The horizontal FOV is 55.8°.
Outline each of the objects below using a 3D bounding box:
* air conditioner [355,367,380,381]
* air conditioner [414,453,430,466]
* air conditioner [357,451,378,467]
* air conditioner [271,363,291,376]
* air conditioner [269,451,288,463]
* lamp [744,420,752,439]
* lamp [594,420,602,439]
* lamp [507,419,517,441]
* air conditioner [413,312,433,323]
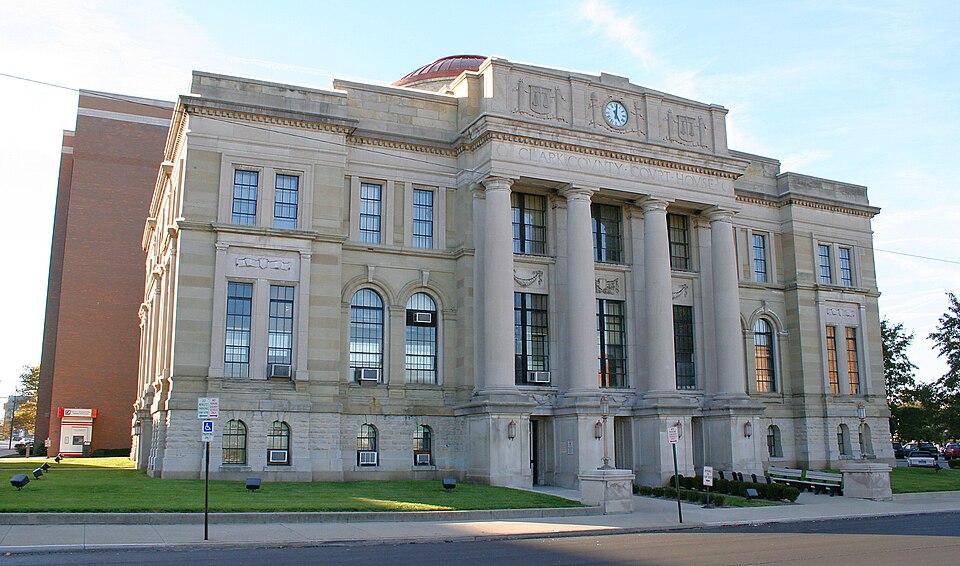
[{"bbox_3d":[-7.207,6.010,58.493,1.891,0.990,0.872,5,-16,-21],"label":"air conditioner"},{"bbox_3d":[-3.691,11.499,59.113,1.473,0.951,0.728,2,-11,-13],"label":"air conditioner"},{"bbox_3d":[-7.242,11.331,58.062,2.006,1.141,0.968,3,-10,-18],"label":"air conditioner"},{"bbox_3d":[-12.369,5.505,56.252,1.531,0.866,0.766,5,-10,-31],"label":"air conditioner"},{"bbox_3d":[-12.253,10.721,55.441,1.595,0.842,0.756,2,-13,-14],"label":"air conditioner"},{"bbox_3d":[18.435,10.189,62.496,0.646,1.152,0.170,1,-16,-10],"label":"lamp"},{"bbox_3d":[7.584,9.500,58.278,0.495,1.195,0.285,-3,-15,6],"label":"lamp"},{"bbox_3d":[2.034,9.278,56.933,0.630,1.171,0.332,4,-16,-19],"label":"lamp"},{"bbox_3d":[-3.720,2.291,59.803,1.400,0.690,0.724,4,-8,-33],"label":"air conditioner"}]
